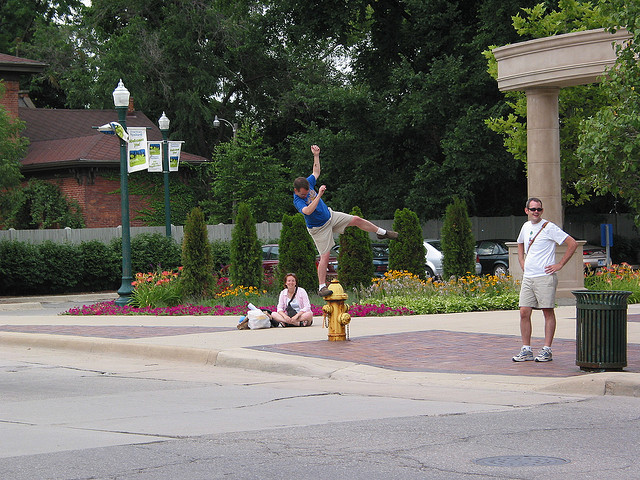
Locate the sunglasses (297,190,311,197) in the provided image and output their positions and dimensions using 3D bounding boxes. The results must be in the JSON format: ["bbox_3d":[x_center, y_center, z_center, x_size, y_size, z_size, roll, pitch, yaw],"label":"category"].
[{"bbox_3d":[-0.277,-0.875,19.328,0.200,0.101,0.061,-1,-4,9],"label":"sunglasses"}]

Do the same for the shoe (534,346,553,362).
[{"bbox_3d":[3.754,1.887,17.542,0.312,0.255,0.244,-1,-3,5],"label":"shoe"}]

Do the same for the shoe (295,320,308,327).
[{"bbox_3d":[-0.366,1.737,22.082,0.232,0.141,0.120,0,-4,-14],"label":"shoe"}]

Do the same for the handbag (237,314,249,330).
[{"bbox_3d":[-1.608,1.689,21.793,0.109,0.274,0.229,4,1,9],"label":"handbag"}]

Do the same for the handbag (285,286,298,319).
[{"bbox_3d":[-0.588,1.320,22.226,0.185,0.516,0.332,22,-3,-28],"label":"handbag"}]

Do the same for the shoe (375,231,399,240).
[{"bbox_3d":[1.296,-0.107,20.099,0.413,0.161,0.173,-3,-31,-3],"label":"shoe"}]

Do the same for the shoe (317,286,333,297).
[{"bbox_3d":[0.104,0.933,19.515,0.258,0.175,0.313,-1,-3,0],"label":"shoe"}]

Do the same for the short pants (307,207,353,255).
[{"bbox_3d":[0.118,-0.187,20.099,0.783,0.717,0.885,-37,14,-33],"label":"short pants"}]

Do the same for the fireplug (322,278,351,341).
[{"bbox_3d":[0.295,1.305,19.732,0.497,1.135,0.588,-1,-3,0],"label":"fireplug"}]

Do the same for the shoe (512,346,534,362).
[{"bbox_3d":[3.423,1.891,17.590,0.380,0.256,0.235,-1,-3,1],"label":"shoe"}]

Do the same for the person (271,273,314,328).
[{"bbox_3d":[-0.607,1.266,22.241,0.896,1.093,0.916,-3,-3,-31],"label":"person"}]

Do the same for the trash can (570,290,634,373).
[{"bbox_3d":[4.641,1.379,16.910,1.181,1.387,1.157,-1,2,-29],"label":"trash can"}]

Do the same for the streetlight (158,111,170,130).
[{"bbox_3d":[-5.271,-3.989,35.341,0.271,0.527,0.591,0,-3,-13],"label":"streetlight"}]

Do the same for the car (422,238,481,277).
[{"bbox_3d":[4.256,0.552,33.635,2.097,1.011,1.146,0,-2,15],"label":"car"}]
